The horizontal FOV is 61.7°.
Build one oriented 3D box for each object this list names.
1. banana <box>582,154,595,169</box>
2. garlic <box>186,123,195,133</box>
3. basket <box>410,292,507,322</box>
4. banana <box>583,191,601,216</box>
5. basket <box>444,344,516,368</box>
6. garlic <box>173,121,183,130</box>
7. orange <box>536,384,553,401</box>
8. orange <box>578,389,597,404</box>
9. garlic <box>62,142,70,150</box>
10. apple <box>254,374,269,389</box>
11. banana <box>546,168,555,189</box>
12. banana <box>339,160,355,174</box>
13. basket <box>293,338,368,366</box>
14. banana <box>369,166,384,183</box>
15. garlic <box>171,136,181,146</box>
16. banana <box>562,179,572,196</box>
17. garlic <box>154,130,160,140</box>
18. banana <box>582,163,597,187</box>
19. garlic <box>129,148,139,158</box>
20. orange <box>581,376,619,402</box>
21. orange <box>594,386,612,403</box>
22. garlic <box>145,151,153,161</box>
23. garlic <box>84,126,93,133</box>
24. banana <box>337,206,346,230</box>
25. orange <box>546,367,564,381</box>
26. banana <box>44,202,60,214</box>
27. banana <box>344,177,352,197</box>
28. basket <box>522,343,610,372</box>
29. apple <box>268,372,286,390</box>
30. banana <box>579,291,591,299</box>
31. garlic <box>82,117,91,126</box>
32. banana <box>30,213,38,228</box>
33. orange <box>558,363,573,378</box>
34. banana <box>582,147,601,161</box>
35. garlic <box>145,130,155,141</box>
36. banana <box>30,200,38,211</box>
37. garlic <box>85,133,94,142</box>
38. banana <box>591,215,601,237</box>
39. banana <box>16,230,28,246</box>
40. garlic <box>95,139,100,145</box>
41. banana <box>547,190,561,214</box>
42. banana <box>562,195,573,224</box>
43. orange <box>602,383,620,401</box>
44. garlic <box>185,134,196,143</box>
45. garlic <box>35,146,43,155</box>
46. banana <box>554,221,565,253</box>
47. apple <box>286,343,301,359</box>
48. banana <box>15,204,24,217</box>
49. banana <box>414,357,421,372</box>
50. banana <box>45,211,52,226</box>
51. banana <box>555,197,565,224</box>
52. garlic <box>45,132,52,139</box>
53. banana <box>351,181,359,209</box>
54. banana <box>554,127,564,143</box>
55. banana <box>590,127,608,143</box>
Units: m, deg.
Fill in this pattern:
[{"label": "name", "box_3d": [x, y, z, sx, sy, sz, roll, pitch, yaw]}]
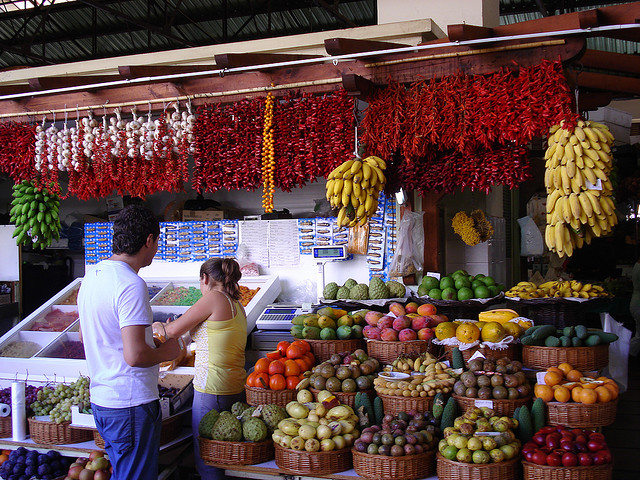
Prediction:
[{"label": "banana", "box_3d": [1.504, -0.441, 2.991, 0.037, 0.114, 0.031, 6, -50, -33]}, {"label": "garlic", "box_3d": [-0.919, -0.797, 3.790, 0.044, 0.062, 0.046, 11, -10, 10]}, {"label": "basket", "box_3d": [1.097, 0.530, 4.254, 0.745, 0.238, 0.372, -3, 0, 16]}, {"label": "banana", "box_3d": [1.531, -0.212, 2.976, 0.055, 0.170, 0.045, -12, -20, -28]}, {"label": "basket", "box_3d": [1.067, 0.750, 3.536, 0.467, 0.158, 0.168, -3, 0, 12]}, {"label": "garlic", "box_3d": [-1.027, -0.818, 3.850, 0.045, 0.064, 0.047, 6, -16, -16]}, {"label": "orange", "box_3d": [1.359, 0.918, 3.243, 0.081, 0.085, 0.084, 2, -45, 9]}, {"label": "orange", "box_3d": [1.609, 0.927, 3.189, 0.104, 0.091, 0.037, -3, 0, -9]}, {"label": "garlic", "box_3d": [-1.983, -0.734, 4.148, 0.039, 0.049, 0.027, 16, 31, -2]}, {"label": "apple", "box_3d": [-0.392, 0.935, 3.550, 0.082, 0.085, 0.084, 21, -27, -13]}, {"label": "banana", "box_3d": [1.346, -0.364, 3.107, 0.034, 0.112, 0.029, 5, -6, -16]}, {"label": "banana", "box_3d": [0.166, -0.470, 3.370, 0.041, 0.042, 0.144, 13, 46, 33]}, {"label": "basket", "box_3d": [0.098, 0.772, 3.748, 0.394, 0.181, 0.080, -3, 0, -3]}, {"label": "banana", "box_3d": [0.361, -0.415, 3.396, 0.041, 0.125, 0.033, -35, -4, 37]}, {"label": "garlic", "box_3d": [-1.043, -0.723, 3.865, 0.086, 0.063, 0.027, -3, 0, 37]}, {"label": "banana", "box_3d": [1.412, -0.292, 3.032, 0.043, 0.070, 0.025, 0, 2, 12]}, {"label": "garlic", "box_3d": [-1.193, -0.764, 3.880, 0.041, 0.052, 0.028, -3, 10, -10]}, {"label": "banana", "box_3d": [1.507, -0.366, 2.977, 0.039, 0.128, 0.042, 10, -41, -21]}, {"label": "garlic", "box_3d": [-1.378, -0.647, 3.938, 0.048, 0.022, 0.061, 5, -39, -4]}, {"label": "orange", "box_3d": [1.718, 0.896, 3.242, 0.140, 0.060, 0.140, -7, 2, 6]}, {"label": "orange", "box_3d": [1.699, 0.919, 3.193, 0.083, 0.085, 0.083, 1, -15, 45]}, {"label": "garlic", "box_3d": [-1.270, -0.628, 3.945, 0.070, 0.084, 0.048, 4, -1, -14]}, {"label": "garlic", "box_3d": [-1.762, -0.838, 4.053, 0.035, 0.047, 0.036, -10, -35, 14]}, {"label": "banana", "box_3d": [0.136, -0.148, 3.474, 0.048, 0.144, 0.036, 0, 21, -30]}, {"label": "orange", "box_3d": [1.488, 0.818, 3.369, 0.074, 0.090, 0.074, 16, 27, 26]}, {"label": "banana", "box_3d": [-2.310, -0.283, 4.610, 0.051, 0.037, 0.145, 11, -31, 36]}, {"label": "banana", "box_3d": [0.174, -0.333, 3.327, 0.036, 0.114, 0.030, 8, -18, -27]}, {"label": "basket", "box_3d": [1.639, 0.762, 3.492, 0.574, 0.195, 0.173, -3, 0, 1]}, {"label": "apple", "box_3d": [-0.288, 0.933, 3.556, 0.090, 0.111, 0.093, -7, -16, -8]}, {"label": "banana", "box_3d": [2.046, 0.418, 4.119, 0.035, 0.024, 0.066, -9, 13, -20]}, {"label": "garlic", "box_3d": [-1.786, -0.900, 4.060, 0.051, 0.054, 0.052, 6, -27, 6]}, {"label": "banana", "box_3d": [-2.425, -0.162, 4.520, 0.034, 0.132, 0.045, 16, -7, -3]}, {"label": "orange", "box_3d": [1.557, 0.821, 3.379, 0.067, 0.085, 0.067, -13, -8, 42]}, {"label": "banana", "box_3d": [1.525, -0.485, 2.985, 0.098, 0.034, 0.027, 33, 29, 19]}, {"label": "garlic", "box_3d": [-1.245, -0.766, 3.905, 0.057, 0.064, 0.024, 5, 9, 3]}, {"label": "banana", "box_3d": [-2.413, -0.296, 4.491, 0.056, 0.078, 0.044, -2, 0, -33]}, {"label": "garlic", "box_3d": [-1.754, -0.776, 4.047, 0.075, 0.057, 0.019, -3, 0, 15]}, {"label": "banana", "box_3d": [1.565, -0.081, 3.038, 0.035, 0.125, 0.035, -6, -9, -2]}, {"label": "banana", "box_3d": [-2.586, -0.022, 4.591, 0.047, 0.097, 0.130, 27, 7, 8]}, {"label": "garlic", "box_3d": [-1.683, -0.739, 4.015, 0.023, 0.038, 0.009, -1, 3, 37]}, {"label": "banana", "box_3d": [1.358, -0.231, 3.107, 0.043, 0.152, 0.044, 28, -10, -24]}, {"label": "banana", "box_3d": [1.399, -0.173, 3.024, 0.046, 0.144, 0.041, -9, -24, 21]}, {"label": "orange", "box_3d": [1.810, 0.933, 3.291, 0.082, 0.105, 0.088, -4, -15, 9]}, {"label": "garlic", "box_3d": [-0.917, -0.724, 3.791, 0.044, 0.055, 0.024, 5, 5, 16]}, {"label": "garlic", "box_3d": [-2.212, -0.709, 4.220, 0.050, 0.050, 0.069, -2, 34, 6]}, {"label": "banana", "box_3d": [1.381, -0.022, 3.079, 0.058, 0.178, 0.048, 0, -7, -17]}, {"label": "apple", "box_3d": [-0.179, 0.755, 3.667, 0.076, 0.080, 0.078, -3, 4, -1]}, {"label": "banana", "box_3d": [-2.541, -0.253, 4.498, 0.034, 0.107, 0.028, -1, -29, 38]}, {"label": "banana", "box_3d": [0.637, 0.808, 3.495, 0.024, 0.071, 0.036, 20, -1, 34]}, {"label": "banana", "box_3d": [-2.324, -0.189, 4.559, 0.028, 0.111, 0.036, -4, -3, -14]}, {"label": "banana", "box_3d": [1.376, -0.169, 3.067, 0.052, 0.165, 0.044, -11, -26, 35]}, {"label": "garlic", "box_3d": [-2.131, -0.820, 4.184, 0.043, 0.044, 0.024, 35, 8, 8]}, {"label": "banana", "box_3d": [0.222, -0.263, 3.335, 0.040, 0.127, 0.033, -3, 7, 2]}, {"label": "banana", "box_3d": [1.379, -0.608, 3.074, 0.017, 0.066, 0.042, 18, -3, -25]}, {"label": "banana", "box_3d": [1.595, -0.591, 3.023, 0.044, 0.132, 0.035, -19, -19, -51]}]
